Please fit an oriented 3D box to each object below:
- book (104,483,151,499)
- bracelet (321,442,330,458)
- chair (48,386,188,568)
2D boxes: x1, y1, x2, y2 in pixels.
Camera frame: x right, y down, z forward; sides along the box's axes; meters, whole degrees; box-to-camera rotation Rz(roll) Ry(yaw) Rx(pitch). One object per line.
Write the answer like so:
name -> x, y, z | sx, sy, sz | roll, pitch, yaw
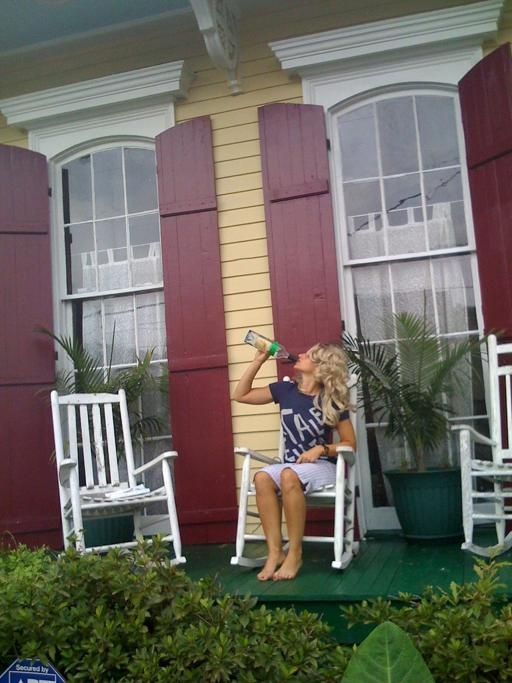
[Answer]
book -> -0.627, 0.742, 3.356 | 0.210, 0.036, 0.368 | -6, -1, -14
bracelet -> 0.312, 0.494, 3.106 | 0.036, 0.059, 0.094 | -7, -1, 3
chair -> -0.751, 0.690, 3.486 | 0.678, 0.848, 0.653 | -7, -8, 31
